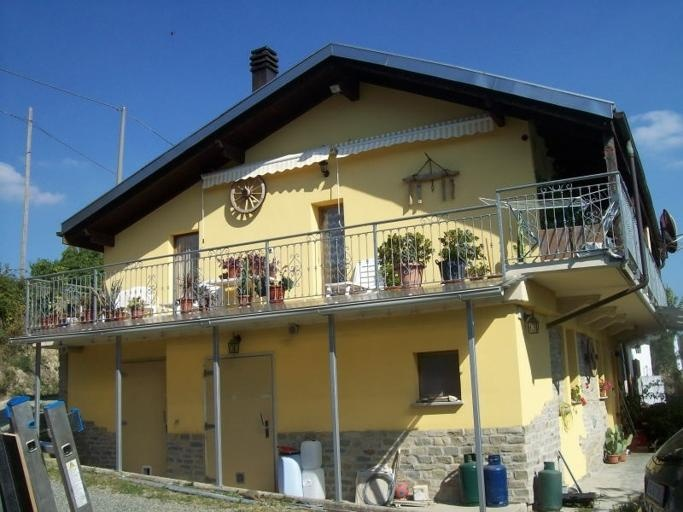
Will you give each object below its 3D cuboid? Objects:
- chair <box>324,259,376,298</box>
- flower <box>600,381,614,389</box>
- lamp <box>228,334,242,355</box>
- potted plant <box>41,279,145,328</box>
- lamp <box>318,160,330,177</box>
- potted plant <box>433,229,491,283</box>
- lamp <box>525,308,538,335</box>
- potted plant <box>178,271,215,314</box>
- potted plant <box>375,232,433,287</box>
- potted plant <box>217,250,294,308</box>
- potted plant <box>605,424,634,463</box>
[{"bbox_3d":[0.231,0.460,15.890,1.276,0.914,1.418,-5,-8,7],"label":"chair"},{"bbox_3d":[7.476,3.664,20.474,0.352,0.170,0.371,-4,-5,35],"label":"flower"},{"bbox_3d":[-2.488,2.052,16.964,0.337,0.452,0.122,-6,-8,19],"label":"lamp"},{"bbox_3d":[-6.056,1.214,17.793,1.699,0.721,1.436,-2,-3,-1],"label":"potted plant"},{"bbox_3d":[-0.414,-2.068,17.305,0.258,0.362,0.283,-5,-8,12],"label":"lamp"},{"bbox_3d":[2.554,0.057,15.275,1.092,1.532,0.990,2,-16,-2],"label":"potted plant"},{"bbox_3d":[4.058,1.412,15.457,0.180,0.496,0.576,-7,-8,29],"label":"lamp"},{"bbox_3d":[-3.309,0.879,17.186,0.785,1.292,0.970,2,-13,-11],"label":"potted plant"},{"bbox_3d":[1.314,0.148,15.579,1.187,1.496,1.010,1,-21,1],"label":"potted plant"},{"bbox_3d":[-1.849,0.472,16.579,1.353,1.466,2.038,4,-11,-44],"label":"potted plant"},{"bbox_3d":[7.411,5.148,19.951,0.812,1.132,0.854,12,-15,-38],"label":"potted plant"}]
